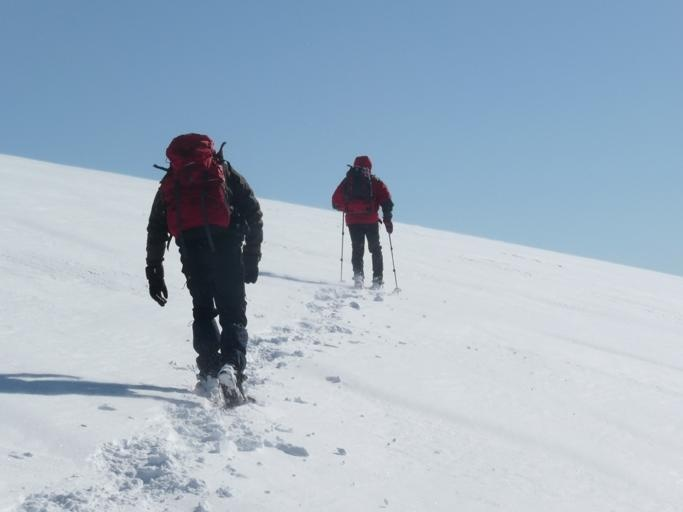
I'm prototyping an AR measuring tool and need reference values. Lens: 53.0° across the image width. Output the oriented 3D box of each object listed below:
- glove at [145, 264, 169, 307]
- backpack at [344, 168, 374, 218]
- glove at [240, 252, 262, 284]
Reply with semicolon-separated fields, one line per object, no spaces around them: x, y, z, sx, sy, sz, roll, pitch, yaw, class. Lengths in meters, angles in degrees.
-1.960;0.308;7.487;0.294;0.470;0.124;-10;12;8;glove
0.363;-1.402;13.779;0.598;0.724;0.335;7;9;1;backpack
-1.017;0.107;7.552;0.258;0.474;0.337;1;4;-11;glove
